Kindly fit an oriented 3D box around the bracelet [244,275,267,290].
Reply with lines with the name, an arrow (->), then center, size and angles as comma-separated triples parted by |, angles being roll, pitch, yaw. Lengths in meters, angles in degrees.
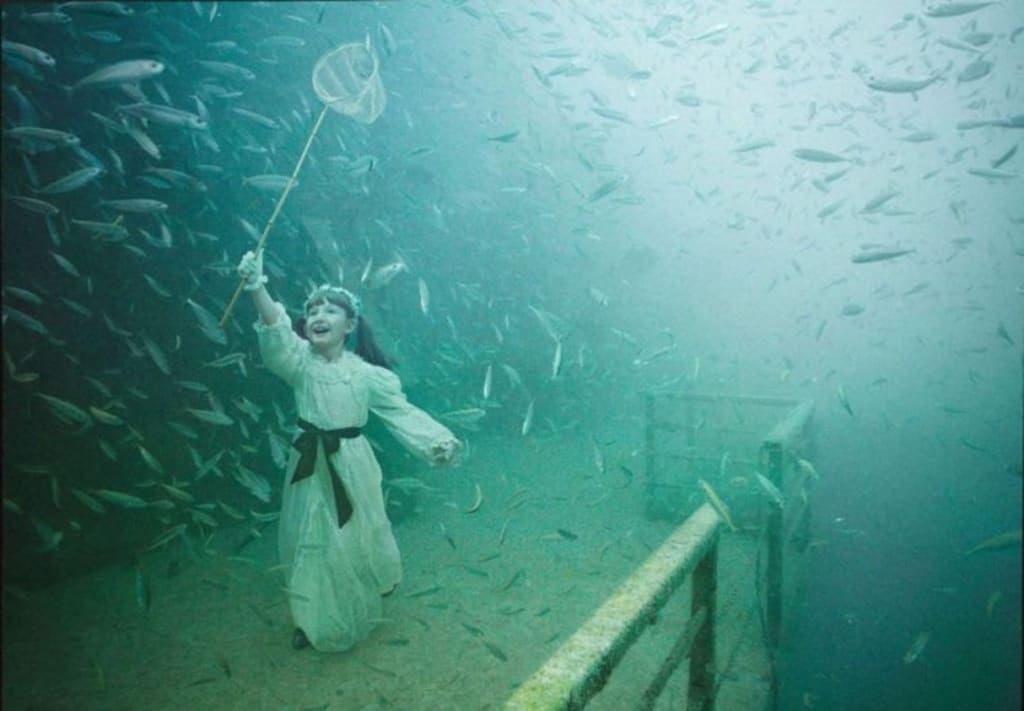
bracelet -> -2.154, -0.625, 7.564 | 0.117, 0.118, 0.256 | 8, 13, 16
